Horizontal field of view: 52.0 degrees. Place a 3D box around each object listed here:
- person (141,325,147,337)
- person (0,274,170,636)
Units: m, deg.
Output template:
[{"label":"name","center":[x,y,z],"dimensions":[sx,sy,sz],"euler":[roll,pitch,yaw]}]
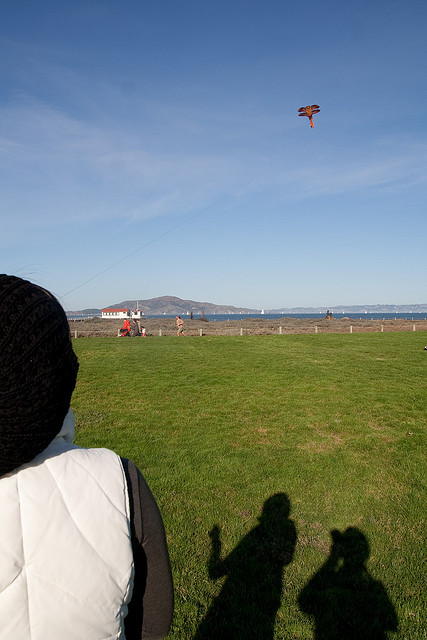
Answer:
[{"label":"person","center":[-6.048,0.938,38.067],"dimensions":[0.660,0.900,0.262],"euler":[-2,-3,8]},{"label":"person","center":[-0.417,0.461,1.302],"dimensions":[0.362,1.191,0.530],"euler":[1,2,27]}]
